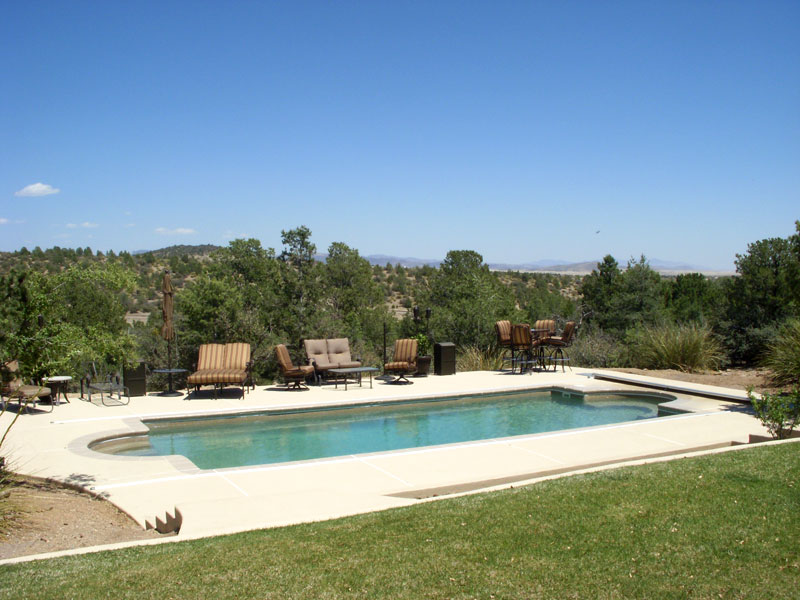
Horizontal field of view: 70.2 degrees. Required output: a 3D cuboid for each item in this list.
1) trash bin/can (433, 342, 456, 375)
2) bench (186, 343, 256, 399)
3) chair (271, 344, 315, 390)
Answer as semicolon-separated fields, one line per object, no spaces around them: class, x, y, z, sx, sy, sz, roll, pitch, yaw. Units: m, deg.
trash bin/can;1.239;1.654;15.745;0.587;0.904;0.560;1;-4;2
bench;-4.011;1.533;12.830;1.354;1.167;1.178;0;1;-4
chair;-2.714;1.684;13.958;1.161;1.441;1.167;-1;-1;2
